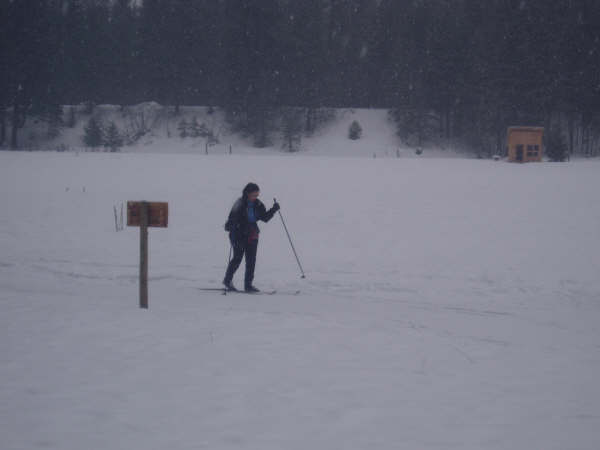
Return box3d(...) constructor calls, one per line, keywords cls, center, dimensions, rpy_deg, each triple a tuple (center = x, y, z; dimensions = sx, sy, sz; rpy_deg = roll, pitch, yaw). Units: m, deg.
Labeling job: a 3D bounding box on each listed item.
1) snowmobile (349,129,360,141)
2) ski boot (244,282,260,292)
box3d(cls="snowmobile", center=(1.954, -3.268, 41.500), dimensions=(0.265, 0.373, 0.271), rpy_deg=(0, 2, -11))
box3d(cls="ski boot", center=(-1.121, 1.430, 26.284), dimensions=(0.309, 0.323, 0.176), rpy_deg=(1, 1, -3))
